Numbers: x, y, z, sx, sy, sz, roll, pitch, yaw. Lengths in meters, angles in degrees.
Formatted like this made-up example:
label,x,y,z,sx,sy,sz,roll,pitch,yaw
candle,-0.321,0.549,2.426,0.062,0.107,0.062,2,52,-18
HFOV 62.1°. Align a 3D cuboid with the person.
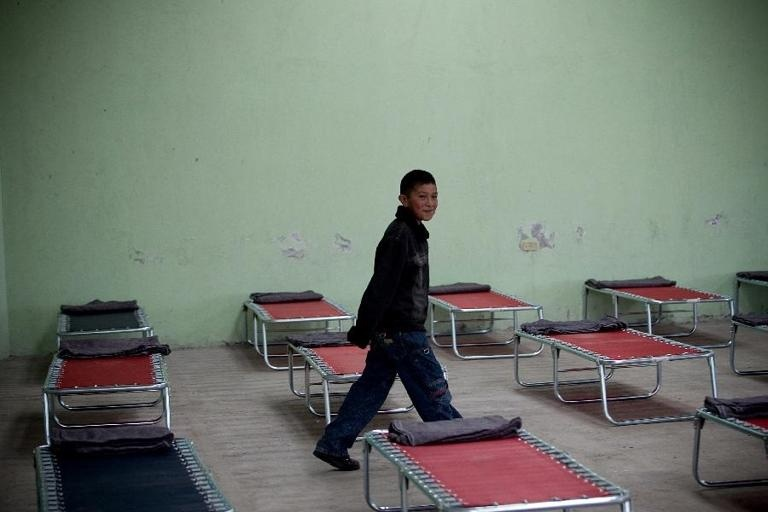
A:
label,x,y,z,sx,sy,sz,roll,pitch,yaw
person,0.011,0.455,4.071,0.891,1.989,0.510,-2,4,9
